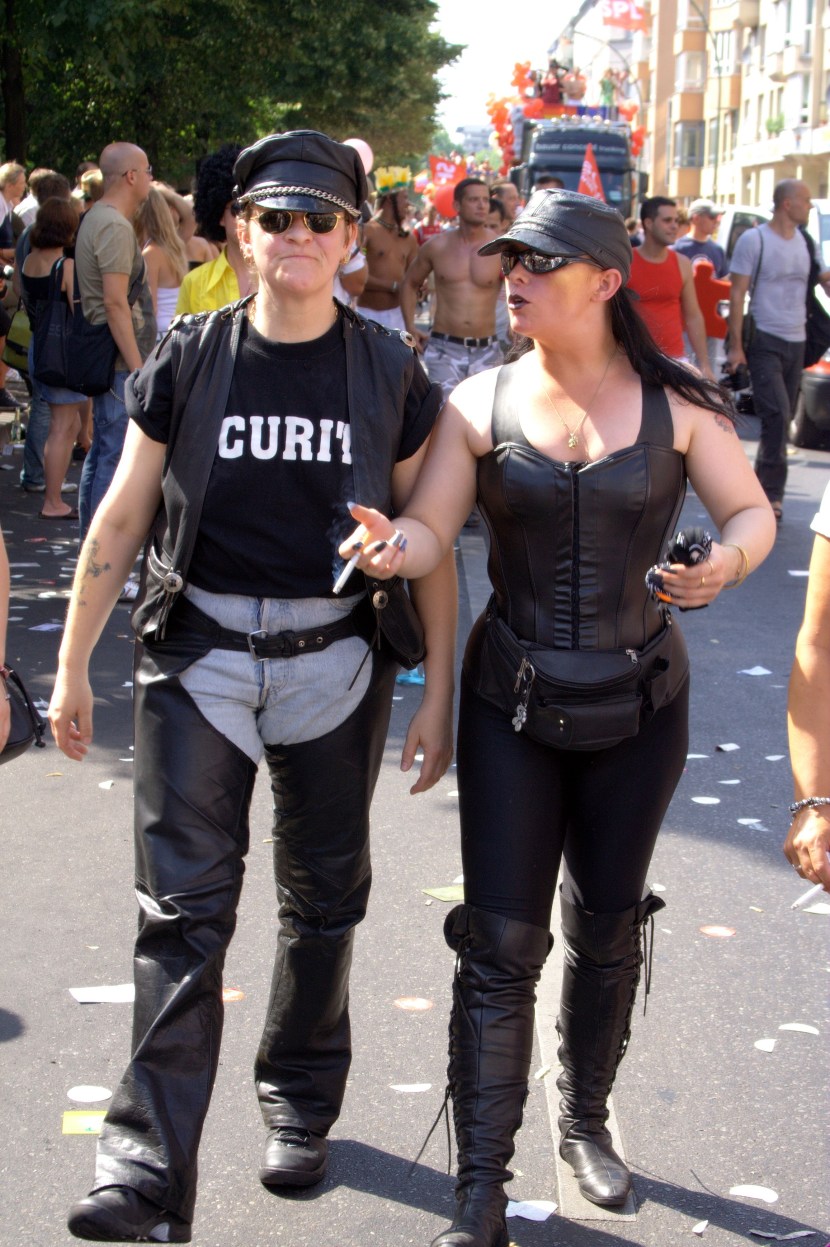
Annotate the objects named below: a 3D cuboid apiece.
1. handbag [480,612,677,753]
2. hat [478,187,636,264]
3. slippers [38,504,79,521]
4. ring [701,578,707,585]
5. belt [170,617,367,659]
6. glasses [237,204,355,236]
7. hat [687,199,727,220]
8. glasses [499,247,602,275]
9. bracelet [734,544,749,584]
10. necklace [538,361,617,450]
[{"bbox_3d":[0.271,0.094,1.934,0.348,0.192,0.285,5,12,12],"label":"handbag"},{"bbox_3d":[0.231,-0.628,1.865,0.199,0.091,0.141,12,0,-21],"label":"hat"},{"bbox_3d":[-2.818,-0.897,9.258,0.321,0.088,0.109,-6,24,-27],"label":"slippers"},{"bbox_3d":[0.413,-0.061,1.651,0.003,0.009,0.007,5,-8,-1],"label":"ring"},{"bbox_3d":[-0.232,0.021,1.864,0.339,0.067,0.103,0,12,-12],"label":"belt"},{"bbox_3d":[-0.186,-0.631,1.819,0.143,0.046,0.089,1,12,-7],"label":"glasses"},{"bbox_3d":[3.881,-5.587,15.584,0.594,0.308,0.426,2,25,19],"label":"hat"},{"bbox_3d":[0.191,-0.580,1.847,0.084,0.023,0.071,5,0,-38],"label":"glasses"},{"bbox_3d":[0.519,-0.100,1.822,0.022,0.051,0.044,2,-2,-7],"label":"bracelet"},{"bbox_3d":[0.277,-0.397,1.941,0.031,0.039,0.275,23,56,11],"label":"necklace"}]
